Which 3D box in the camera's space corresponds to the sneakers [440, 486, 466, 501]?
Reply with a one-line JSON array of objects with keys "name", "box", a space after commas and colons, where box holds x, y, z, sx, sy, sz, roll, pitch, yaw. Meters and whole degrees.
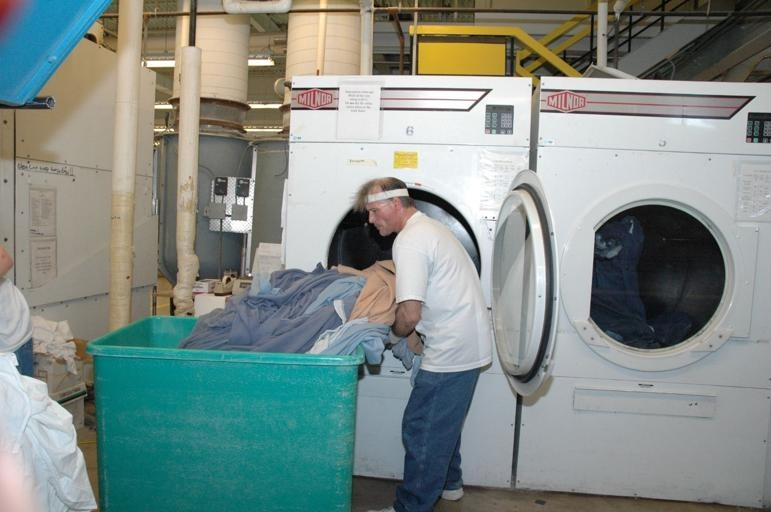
[{"name": "sneakers", "box": [0.414, 1.471, 4.082, 0.132, 0.054, 0.064, -2, 6, -5]}]
